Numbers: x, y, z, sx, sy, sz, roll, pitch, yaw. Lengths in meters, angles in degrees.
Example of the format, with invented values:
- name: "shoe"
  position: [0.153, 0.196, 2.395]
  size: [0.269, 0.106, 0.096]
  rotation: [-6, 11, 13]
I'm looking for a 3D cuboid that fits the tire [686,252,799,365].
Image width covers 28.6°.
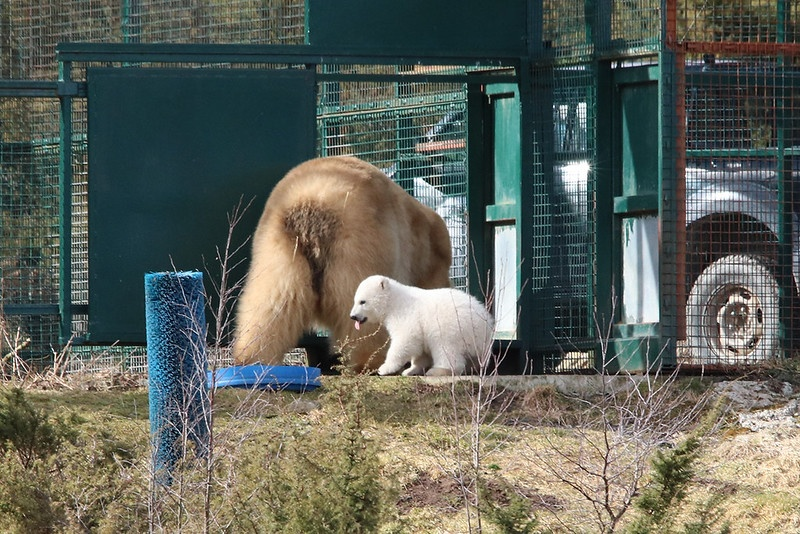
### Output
- name: "tire"
  position: [3.478, 0.440, 16.181]
  size: [0.734, 1.069, 0.401]
  rotation: [12, -1, -7]

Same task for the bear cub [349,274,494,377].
- name: "bear cub"
  position: [0.238, 0.576, 15.697]
  size: [1.269, 1.149, 0.750]
  rotation: [-1, 0, 0]
